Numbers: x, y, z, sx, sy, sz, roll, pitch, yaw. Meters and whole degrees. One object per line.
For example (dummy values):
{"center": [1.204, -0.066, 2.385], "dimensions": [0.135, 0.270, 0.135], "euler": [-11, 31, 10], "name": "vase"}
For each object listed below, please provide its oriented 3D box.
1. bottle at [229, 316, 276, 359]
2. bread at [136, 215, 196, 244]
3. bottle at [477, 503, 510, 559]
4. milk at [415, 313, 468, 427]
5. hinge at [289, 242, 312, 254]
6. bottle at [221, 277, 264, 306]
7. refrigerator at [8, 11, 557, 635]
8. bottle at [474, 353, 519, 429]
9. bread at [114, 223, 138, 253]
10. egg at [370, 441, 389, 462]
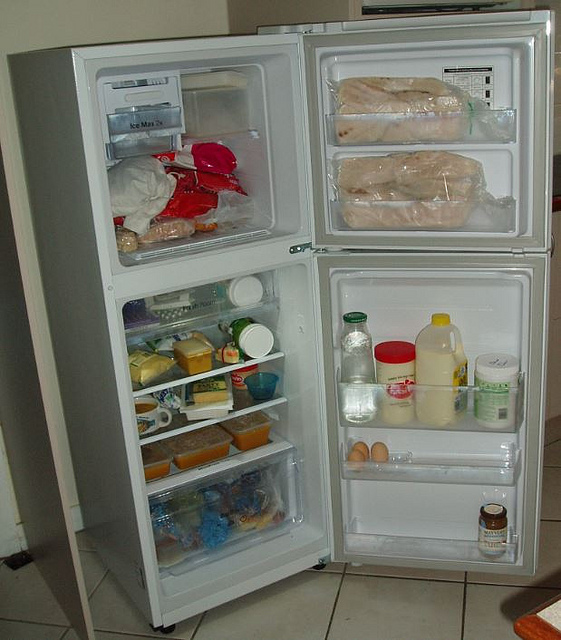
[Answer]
{"center": [-0.071, 0.046, 1.688], "dimensions": [0.083, 0.116, 0.123], "euler": [-30, 35, -26], "name": "bottle"}
{"center": [-0.285, -0.232, 1.505], "dimensions": [0.151, 0.062, 0.056], "euler": [-11, 18, -18], "name": "bread"}
{"center": [0.560, 0.564, 1.599], "dimensions": [0.108, 0.111, 0.100], "euler": [-3, -17, 21], "name": "bottle"}
{"center": [0.392, 0.122, 1.543], "dimensions": [0.164, 0.263, 0.130], "euler": [-4, 8, -41], "name": "milk"}
{"center": [0.048, -0.184, 1.521], "dimensions": [0.055, 0.012, 0.026], "euler": [-11, -4, -24], "name": "hinge"}
{"center": [-0.090, -0.077, 1.586], "dimensions": [0.096, 0.076, 0.021], "euler": [-12, 36, -32], "name": "bottle"}
{"center": [0.007, 0.049, 1.572], "dimensions": [1.222, 1.486, 0.591], "euler": [-10, 19, -8], "name": "refrigerator"}
{"center": [0.523, 0.173, 1.481], "dimensions": [0.108, 0.173, 0.110], "euler": [-7, 18, 2], "name": "bottle"}
{"center": [-0.369, -0.200, 1.448], "dimensions": [0.048, 0.067, 0.052], "euler": [-12, 18, -11], "name": "bread"}
{"center": [0.258, 0.343, 1.593], "dimensions": [0.053, 0.052, 0.047], "euler": [-8, -15, -4], "name": "egg"}
